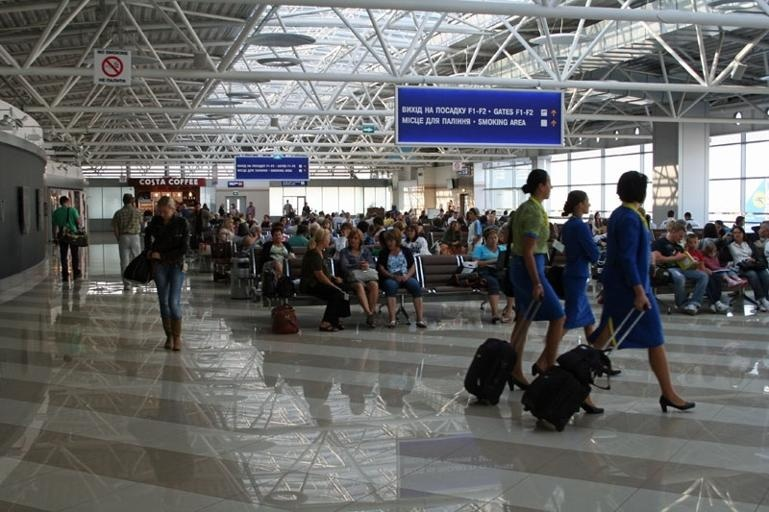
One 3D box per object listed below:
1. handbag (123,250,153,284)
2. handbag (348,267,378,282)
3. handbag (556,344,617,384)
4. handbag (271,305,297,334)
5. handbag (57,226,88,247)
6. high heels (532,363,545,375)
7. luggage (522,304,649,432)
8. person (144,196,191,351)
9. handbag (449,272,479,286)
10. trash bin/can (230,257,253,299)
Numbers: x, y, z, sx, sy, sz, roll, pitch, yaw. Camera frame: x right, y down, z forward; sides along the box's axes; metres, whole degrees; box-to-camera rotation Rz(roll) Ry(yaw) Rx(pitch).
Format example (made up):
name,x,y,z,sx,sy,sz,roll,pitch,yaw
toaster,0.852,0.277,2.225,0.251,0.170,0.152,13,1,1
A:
name,x,y,z,sx,sy,sz,roll,pitch,yaw
handbag,-3.806,0.170,8.441,0.293,0.543,0.575,9,1,25
handbag,-0.379,0.347,9.978,0.510,0.255,0.270,0,5,-8
handbag,2.056,0.994,5.463,0.379,0.167,0.494,-1,-30,-31
handbag,-1.584,1.080,9.519,0.481,0.446,0.417,-6,-2,21
handbag,-9.335,-0.591,16.689,0.709,0.594,0.585,-3,6,-36
high heels,1.673,1.250,6.084,0.109,0.145,0.054,-3,3,1
luggage,2.106,0.985,5.567,1.511,0.622,0.590,-38,-31,2
person,-3.250,0.244,8.401,0.722,2.306,0.318,1,5,11
handbag,1.538,0.449,10.678,0.606,0.274,0.113,4,6,37
trash bin/can,-3.349,0.512,13.253,0.633,0.930,0.568,-2,2,-9
